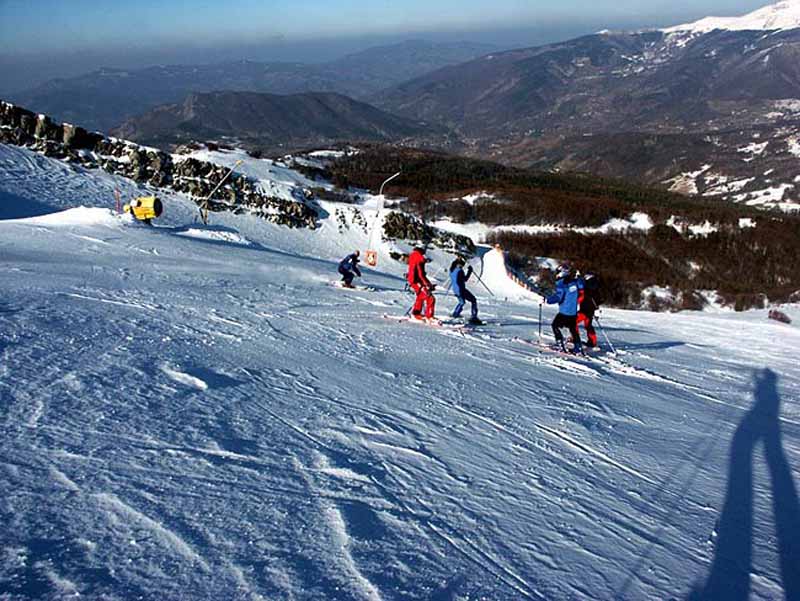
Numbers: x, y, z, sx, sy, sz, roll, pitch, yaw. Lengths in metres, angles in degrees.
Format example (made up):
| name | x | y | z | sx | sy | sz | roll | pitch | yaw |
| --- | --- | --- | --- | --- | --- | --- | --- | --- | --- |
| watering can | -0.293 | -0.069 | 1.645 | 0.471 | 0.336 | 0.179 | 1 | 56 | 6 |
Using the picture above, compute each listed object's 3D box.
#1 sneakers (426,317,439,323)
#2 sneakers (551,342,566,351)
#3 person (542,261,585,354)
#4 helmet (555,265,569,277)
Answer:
| name | x | y | z | sx | sy | sz | roll | pitch | yaw |
| --- | --- | --- | --- | --- | --- | --- | --- | --- | --- |
| sneakers | 0.857 | 0.498 | 17.918 | 0.416 | 0.113 | 0.233 | 12 | 9 | 18 |
| sneakers | 3.826 | 1.075 | 16.540 | 0.140 | 0.167 | 0.406 | 20 | 12 | -16 |
| person | 3.969 | 0.158 | 16.297 | 1.069 | 2.013 | 1.563 | 13 | 9 | 13 |
| helmet | 3.815 | -0.699 | 16.004 | 0.264 | 0.277 | 0.367 | 12 | 9 | 10 |
